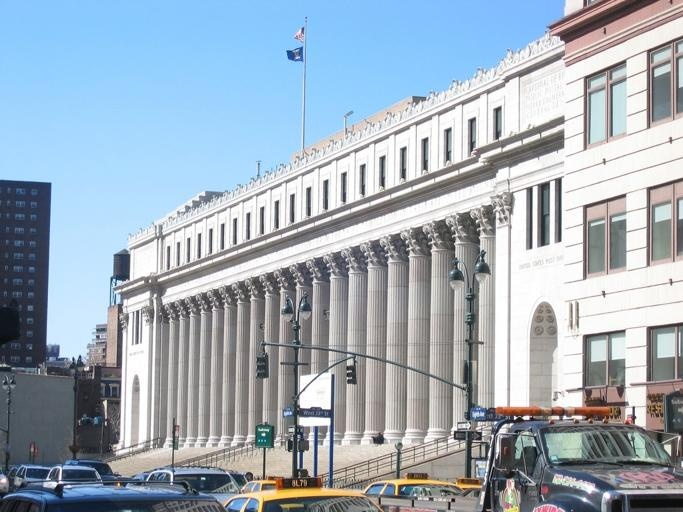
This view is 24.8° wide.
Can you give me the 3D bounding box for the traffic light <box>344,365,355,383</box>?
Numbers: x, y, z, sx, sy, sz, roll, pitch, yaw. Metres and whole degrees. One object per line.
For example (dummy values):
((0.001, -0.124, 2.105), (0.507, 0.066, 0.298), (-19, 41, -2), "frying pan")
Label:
((0.474, 5.764, 75.080), (0.391, 0.893, 0.888), (1, -14, -9), "traffic light")
